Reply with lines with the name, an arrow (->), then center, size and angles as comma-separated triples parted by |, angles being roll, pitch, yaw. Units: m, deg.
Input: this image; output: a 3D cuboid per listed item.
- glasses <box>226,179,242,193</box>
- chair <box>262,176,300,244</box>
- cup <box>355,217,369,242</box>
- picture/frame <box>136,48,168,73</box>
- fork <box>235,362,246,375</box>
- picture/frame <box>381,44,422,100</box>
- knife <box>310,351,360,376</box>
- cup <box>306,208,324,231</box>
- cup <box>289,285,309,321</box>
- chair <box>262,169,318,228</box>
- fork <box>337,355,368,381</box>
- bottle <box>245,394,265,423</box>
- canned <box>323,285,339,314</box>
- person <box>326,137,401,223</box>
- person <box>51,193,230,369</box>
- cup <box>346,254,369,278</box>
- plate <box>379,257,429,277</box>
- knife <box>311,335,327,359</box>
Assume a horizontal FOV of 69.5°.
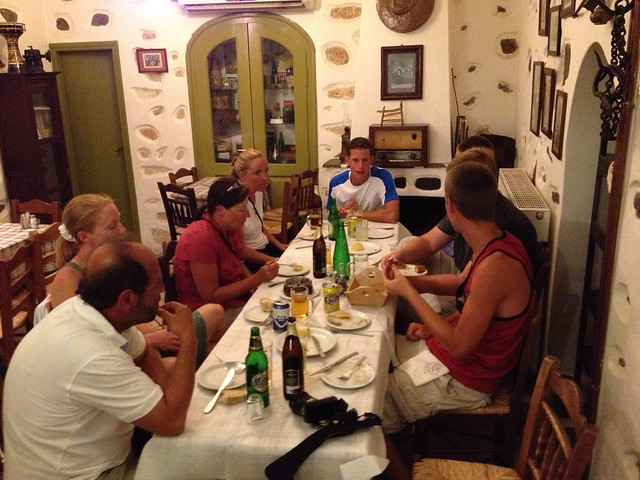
glasses -> -0.507, -0.302, 2.679 | 0.085, 0.050, 0.035 | -14, 18, -37
chair -> -0.397, -0.296, 4.686 | 0.375, 0.725, 0.440 | 11, 34, 9
cup -> 0.307, -0.071, 3.410 | 0.118, 0.212, 0.129 | -1, 8, 0
picture/frame -> -2.025, -2.169, 5.548 | 0.259, 0.231, 0.019 | 1, 19, -2
fork -> -0.331, 0.528, 1.891 | 0.025, 0.013, 0.087 | 3, 10, -3
picture/frame -> 0.860, -1.777, 4.816 | 0.515, 0.643, 0.047 | 1, 14, 10
knife -> 0.055, 0.520, 1.918 | 0.029, 0.014, 0.203 | 17, 22, 40
cup -> -0.040, -0.168, 3.665 | 0.115, 0.202, 0.196 | 7, 16, 26
cup -> -0.097, 0.318, 2.250 | 0.085, 0.147, 0.142 | 1, 12, 1
chair -> -0.314, -0.434, 4.879 | 0.427, 0.728, 0.416 | 11, 32, 17
fork -> 0.126, 0.517, 1.890 | 0.036, 0.036, 0.227 | 11, 11, 21
bottle -> -0.235, 0.589, 1.638 | 0.065, 0.109, 0.044 | -5, 14, -12
canned -> 0.054, 0.309, 2.339 | 0.083, 0.151, 0.089 | 14, 19, 41
person -> 0.363, -0.434, 4.207 | 0.685, 0.996, 0.561 | 2, 23, 7
person -> -0.911, 0.064, 2.705 | 0.988, 1.160, 0.701 | -4, 21, -9
cup -> 0.214, 0.157, 2.795 | 0.134, 0.141, 0.084 | -11, 20, -29
plate -> 0.551, 0.182, 2.808 | 0.173, 0.027, 0.178 | 9, 15, 29
knife -> -0.001, 0.465, 2.028 | 0.025, 0.009, 0.179 | -3, 17, -10
